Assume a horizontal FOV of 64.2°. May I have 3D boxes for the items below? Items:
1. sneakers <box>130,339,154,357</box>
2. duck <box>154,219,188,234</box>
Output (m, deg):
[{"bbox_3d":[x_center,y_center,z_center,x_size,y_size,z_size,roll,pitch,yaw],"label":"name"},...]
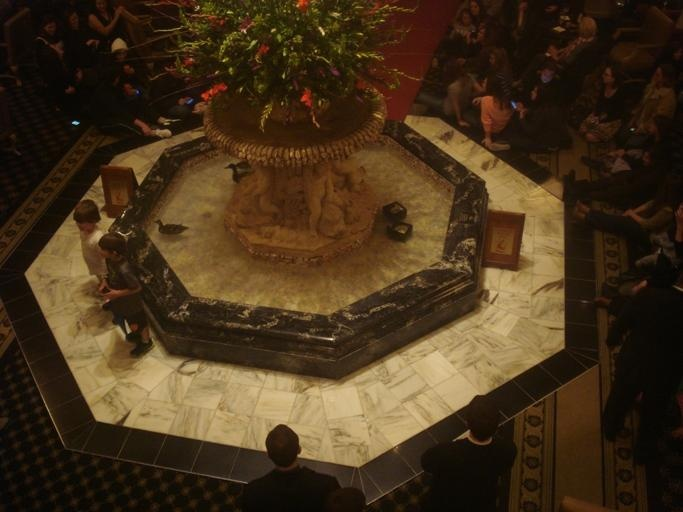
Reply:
[{"bbox_3d":[-1.899,0.882,5.235,0.116,0.087,0.211,36,58,26],"label":"sneakers"},{"bbox_3d":[-1.861,-0.310,6.061,0.368,0.210,0.143,-3,37,6],"label":"duck"}]
